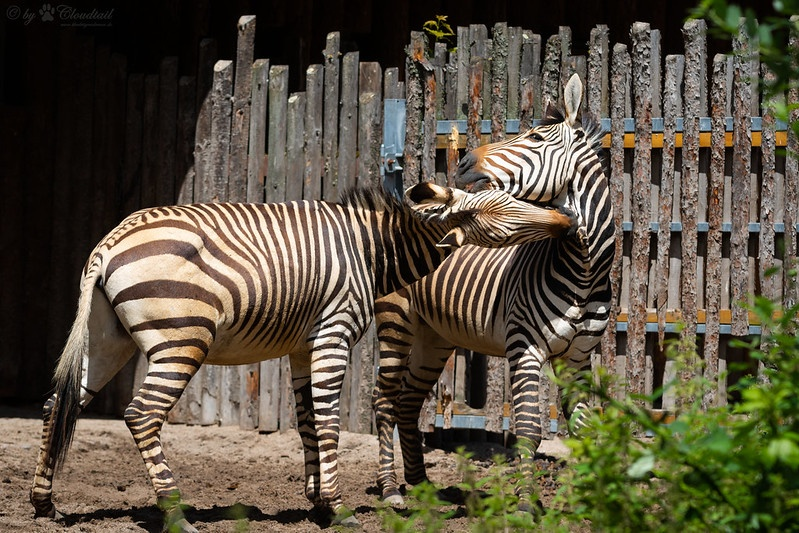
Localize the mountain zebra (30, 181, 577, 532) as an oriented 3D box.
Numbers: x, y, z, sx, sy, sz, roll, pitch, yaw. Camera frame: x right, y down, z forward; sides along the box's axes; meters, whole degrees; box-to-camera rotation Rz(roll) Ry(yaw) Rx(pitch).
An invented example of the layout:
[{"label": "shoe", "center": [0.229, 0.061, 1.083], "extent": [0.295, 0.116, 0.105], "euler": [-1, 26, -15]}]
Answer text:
[{"label": "mountain zebra", "center": [-1.059, 0.739, 11.266], "extent": [3.721, 2.509, 1.182], "euler": [-8, 7, -18]}]
